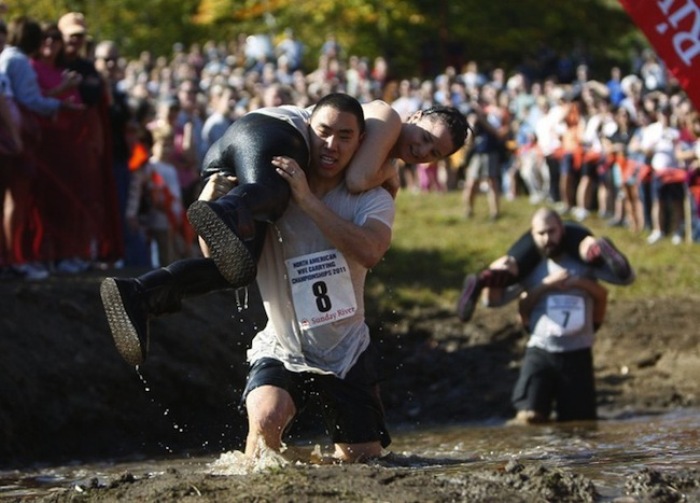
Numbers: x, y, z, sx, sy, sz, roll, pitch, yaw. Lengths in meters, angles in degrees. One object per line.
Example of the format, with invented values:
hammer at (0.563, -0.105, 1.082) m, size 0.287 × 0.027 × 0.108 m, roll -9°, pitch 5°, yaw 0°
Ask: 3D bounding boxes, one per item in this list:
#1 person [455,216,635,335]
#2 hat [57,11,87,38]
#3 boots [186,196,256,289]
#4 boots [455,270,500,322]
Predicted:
person at (2.037, 0.106, 15.069) m, size 1.769 × 1.108 × 0.447 m, roll -3°, pitch 2°, yaw 3°
hat at (-3.066, -2.485, 15.929) m, size 0.297 × 0.304 × 0.324 m, roll -3°, pitch 2°, yaw -11°
boots at (-1.105, -0.099, 13.078) m, size 0.418 × 0.927 × 0.425 m, roll -31°, pitch -9°, yaw 28°
boots at (1.239, 0.433, 15.132) m, size 0.229 × 0.681 × 0.289 m, roll 32°, pitch 24°, yaw 19°
